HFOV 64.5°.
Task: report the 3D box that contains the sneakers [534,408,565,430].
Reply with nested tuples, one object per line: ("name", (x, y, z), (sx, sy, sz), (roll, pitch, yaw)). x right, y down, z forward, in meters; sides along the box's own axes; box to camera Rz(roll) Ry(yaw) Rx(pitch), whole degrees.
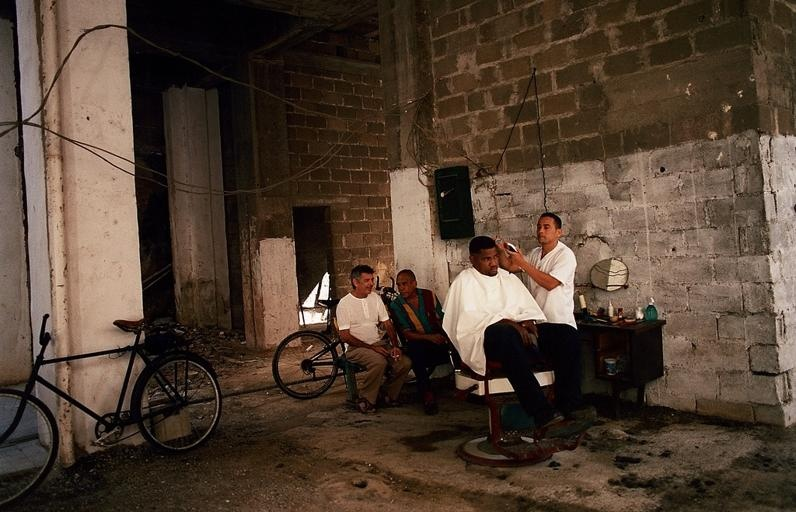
("sneakers", (1.430, 1.550, 5.894), (0.258, 0.173, 0.088), (-4, 14, -1))

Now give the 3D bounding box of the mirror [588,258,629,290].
("mirror", (2.444, 0.224, 7.267), (0.371, 0.360, 0.095), (4, -1, 37))

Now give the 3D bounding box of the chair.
("chair", (1.168, 1.411, 6.472), (1.086, 1.365, 1.443), (-3, -2, -27))

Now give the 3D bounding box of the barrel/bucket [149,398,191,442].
("barrel/bucket", (-2.503, 1.857, 6.931), (0.425, 0.363, 0.336), (5, -27, -44))

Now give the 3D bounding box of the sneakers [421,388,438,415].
("sneakers", (0.387, 1.740, 7.486), (0.170, 0.216, 0.268), (-4, 14, -2))

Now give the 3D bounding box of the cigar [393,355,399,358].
("cigar", (-0.017, 1.208, 7.548), (0.042, 0.040, 0.030), (-8, -1, 24))

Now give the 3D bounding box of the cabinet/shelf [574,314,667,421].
("cabinet/shelf", (2.242, 1.257, 7.006), (0.928, 0.796, 0.611), (9, -20, -42))
